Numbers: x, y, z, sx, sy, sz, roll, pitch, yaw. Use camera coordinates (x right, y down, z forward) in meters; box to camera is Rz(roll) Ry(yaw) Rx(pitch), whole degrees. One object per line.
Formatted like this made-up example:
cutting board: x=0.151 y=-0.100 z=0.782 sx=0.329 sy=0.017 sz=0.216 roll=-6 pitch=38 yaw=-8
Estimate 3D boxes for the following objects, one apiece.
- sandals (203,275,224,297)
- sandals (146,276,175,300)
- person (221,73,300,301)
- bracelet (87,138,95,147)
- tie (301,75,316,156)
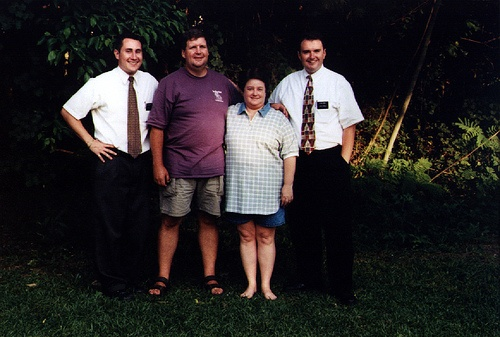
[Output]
sandals: x=-0.394 y=1.287 z=4.355 sx=0.106 sy=0.078 sz=0.287 roll=-6 pitch=10 yaw=-23
sandals: x=-0.967 y=1.306 z=4.321 sx=0.163 sy=0.138 sz=0.464 roll=2 pitch=-4 yaw=-2
person: x=0.085 y=0.226 z=4.206 sx=0.775 sy=1.858 sz=0.255 roll=4 pitch=2 yaw=-3
bracelet: x=-1.655 y=-0.256 z=4.194 sx=0.068 sy=0.079 sz=0.087 roll=-15 pitch=-17 yaw=-19
tie: x=0.616 y=-0.554 z=4.141 sx=0.158 sy=0.706 sz=0.073 roll=5 pitch=2 yaw=15
